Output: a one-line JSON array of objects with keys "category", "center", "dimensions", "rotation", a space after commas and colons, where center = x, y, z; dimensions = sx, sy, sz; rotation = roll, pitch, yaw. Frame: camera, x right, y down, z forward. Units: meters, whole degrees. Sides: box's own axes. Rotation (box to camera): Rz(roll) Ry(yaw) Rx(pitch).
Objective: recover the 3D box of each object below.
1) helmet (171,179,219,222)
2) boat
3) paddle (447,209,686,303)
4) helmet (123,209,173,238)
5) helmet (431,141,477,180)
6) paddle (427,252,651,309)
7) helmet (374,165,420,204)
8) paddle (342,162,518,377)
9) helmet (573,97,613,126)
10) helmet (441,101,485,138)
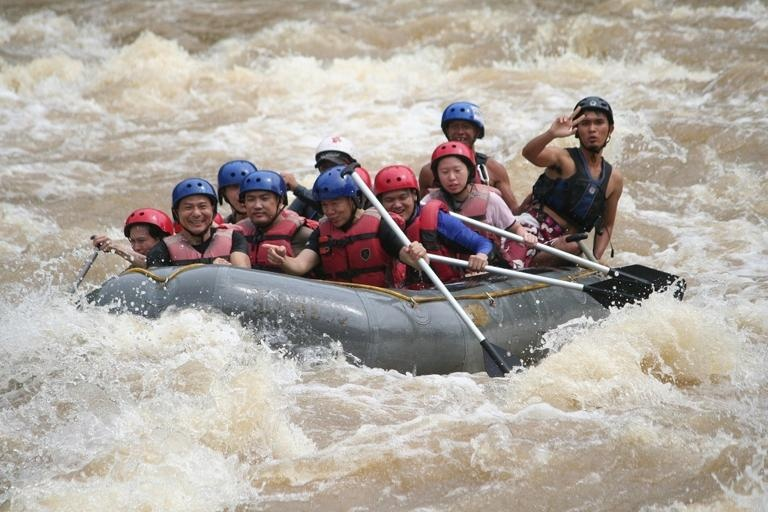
[{"category": "helmet", "center": [-2.213, -0.688, 11.764], "dimensions": [0.431, 0.513, 0.464], "rotation": [-2, 44, -10]}, {"category": "boat", "center": [0.015, 0.640, 11.239], "dimensions": [4.591, 0.821, 2.475], "rotation": [6, -2, -28]}, {"category": "paddle", "center": [2.171, 0.047, 12.411], "dimensions": [2.696, 0.300, 0.368], "rotation": [19, -24, 3]}, {"category": "helmet", "center": [-2.792, -0.429, 12.172], "dimensions": [0.350, 0.466, 0.363], "rotation": [5, 8, 16]}, {"category": "helmet", "center": [0.854, -1.104, 12.241], "dimensions": [0.380, 0.519, 0.406], "rotation": [-1, 5, 8]}, {"category": "paddle", "center": [1.746, 0.330, 11.794], "dimensions": [2.109, 0.205, 0.239], "rotation": [13, -4, -16]}, {"category": "helmet", "center": [0.137, -0.846, 11.872], "dimensions": [0.357, 0.404, 0.444], "rotation": [-2, -19, -1]}, {"category": "paddle", "center": [0.487, 0.248, 11.444], "dimensions": [2.903, 0.602, 0.310], "rotation": [48, 27, 6]}, {"category": "helmet", "center": [2.665, -1.836, 12.670], "dimensions": [0.429, 0.325, 0.524], "rotation": [6, 26, 14]}, {"category": "helmet", "center": [1.030, -1.762, 13.076], "dimensions": [0.411, 0.465, 0.533], "rotation": [2, -3, 3]}]
